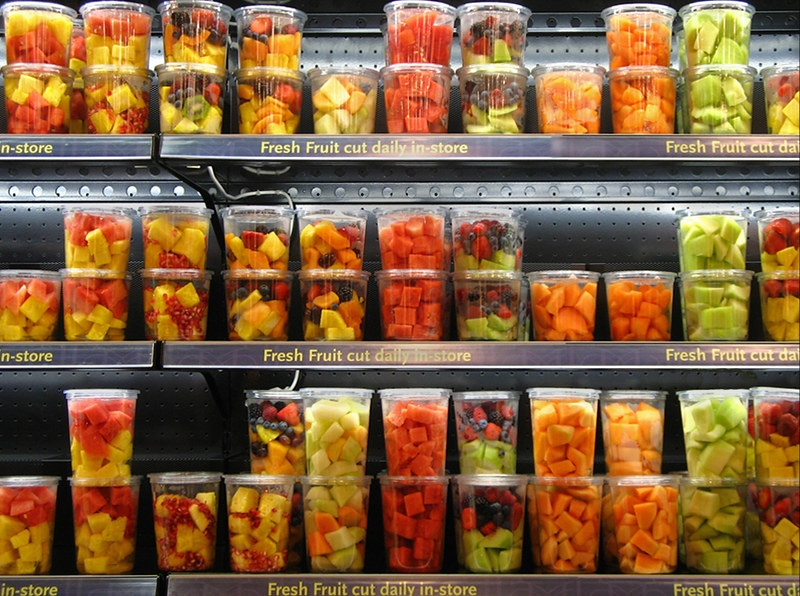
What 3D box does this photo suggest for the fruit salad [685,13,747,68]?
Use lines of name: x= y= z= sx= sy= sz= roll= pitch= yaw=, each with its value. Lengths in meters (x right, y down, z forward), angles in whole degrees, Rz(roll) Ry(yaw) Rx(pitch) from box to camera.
fruit salad: x=1.036 y=-0.815 z=2.592 sx=0.167 sy=0.171 sz=0.171 roll=3 pitch=-2 yaw=-12

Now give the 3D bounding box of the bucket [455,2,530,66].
bucket: x=0.300 y=-0.846 z=2.576 sx=0.217 sy=0.167 sz=0.205 roll=0 pitch=1 yaw=0

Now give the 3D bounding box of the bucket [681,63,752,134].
bucket: x=1.026 y=-0.640 z=2.613 sx=0.220 sy=0.240 sz=0.222 roll=0 pitch=2 yaw=0

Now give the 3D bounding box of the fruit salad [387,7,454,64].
fruit salad: x=0.068 y=-0.844 z=2.578 sx=0.182 sy=0.162 sz=0.210 roll=2 pitch=2 yaw=21

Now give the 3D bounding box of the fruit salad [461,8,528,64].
fruit salad: x=0.305 y=-0.849 z=2.575 sx=0.198 sy=0.154 sz=0.187 roll=0 pitch=1 yaw=-41

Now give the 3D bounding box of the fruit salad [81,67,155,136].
fruit salad: x=-0.902 y=-0.624 z=2.567 sx=0.203 sy=0.208 sz=0.211 roll=1 pitch=4 yaw=2

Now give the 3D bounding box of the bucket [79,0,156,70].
bucket: x=-0.919 y=-0.856 z=2.617 sx=0.206 sy=0.199 sz=0.225 roll=0 pitch=3 yaw=0

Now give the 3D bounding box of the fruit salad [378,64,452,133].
fruit salad: x=0.056 y=-0.639 z=2.611 sx=0.257 sy=0.226 sz=0.291 roll=2 pitch=2 yaw=20

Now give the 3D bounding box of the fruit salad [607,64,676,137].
fruit salad: x=0.813 y=-0.616 z=2.620 sx=0.227 sy=0.248 sz=0.237 roll=-1 pitch=-7 yaw=26

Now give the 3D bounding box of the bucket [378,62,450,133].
bucket: x=0.064 y=-0.648 z=2.607 sx=0.255 sy=0.218 sz=0.280 roll=-1 pitch=8 yaw=0

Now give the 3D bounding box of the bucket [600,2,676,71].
bucket: x=0.783 y=-0.821 z=2.558 sx=0.214 sy=0.180 sz=0.211 roll=-1 pitch=-3 yaw=0

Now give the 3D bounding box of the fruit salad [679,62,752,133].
fruit salad: x=1.025 y=-0.647 z=2.619 sx=0.217 sy=0.238 sz=0.221 roll=0 pitch=0 yaw=-8

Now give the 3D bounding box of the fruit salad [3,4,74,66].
fruit salad: x=-1.154 y=-0.844 z=2.565 sx=0.208 sy=0.169 sz=0.208 roll=-1 pitch=1 yaw=-4

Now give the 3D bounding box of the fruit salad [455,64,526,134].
fruit salad: x=0.311 y=-0.651 z=2.625 sx=0.253 sy=0.224 sz=0.293 roll=3 pitch=6 yaw=24

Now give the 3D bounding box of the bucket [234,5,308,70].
bucket: x=-0.418 y=-0.839 z=2.545 sx=0.226 sy=0.197 sz=0.126 roll=-3 pitch=11 yaw=-12

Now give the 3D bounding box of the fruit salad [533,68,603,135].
fruit salad: x=0.568 y=-0.641 z=2.642 sx=0.251 sy=0.240 sz=0.285 roll=3 pitch=3 yaw=19

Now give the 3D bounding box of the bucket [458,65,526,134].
bucket: x=0.317 y=-0.664 z=2.626 sx=0.252 sy=0.222 sz=0.290 roll=8 pitch=16 yaw=32

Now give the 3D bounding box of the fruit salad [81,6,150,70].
fruit salad: x=-0.905 y=-0.828 z=2.585 sx=0.195 sy=0.188 sz=0.213 roll=2 pitch=3 yaw=33

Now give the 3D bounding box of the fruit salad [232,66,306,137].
fruit salad: x=-0.436 y=-0.644 z=2.614 sx=0.237 sy=0.219 sz=0.226 roll=-1 pitch=7 yaw=-19

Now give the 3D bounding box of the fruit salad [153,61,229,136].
fruit salad: x=-0.687 y=-0.634 z=2.588 sx=0.248 sy=0.230 sz=0.276 roll=0 pitch=3 yaw=5

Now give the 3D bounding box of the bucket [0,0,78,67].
bucket: x=-1.166 y=-0.856 z=2.525 sx=0.211 sy=0.173 sz=0.210 roll=-1 pitch=1 yaw=0

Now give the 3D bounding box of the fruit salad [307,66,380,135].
fruit salad: x=-0.187 y=-0.635 z=2.635 sx=0.245 sy=0.223 sz=0.262 roll=2 pitch=-3 yaw=-26

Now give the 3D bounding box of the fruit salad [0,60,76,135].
fruit salad: x=-1.146 y=-0.630 z=2.559 sx=0.210 sy=0.241 sz=0.219 roll=1 pitch=0 yaw=5

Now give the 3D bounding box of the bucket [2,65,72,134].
bucket: x=-1.165 y=-0.644 z=2.626 sx=0.209 sy=0.239 sz=0.220 roll=0 pitch=1 yaw=0

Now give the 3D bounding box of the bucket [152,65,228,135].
bucket: x=-0.688 y=-0.637 z=2.594 sx=0.254 sy=0.234 sz=0.285 roll=-2 pitch=5 yaw=-22

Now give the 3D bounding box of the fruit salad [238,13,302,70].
fruit salad: x=-0.419 y=-0.827 z=2.522 sx=0.178 sy=0.176 sz=0.175 roll=1 pitch=-2 yaw=-8

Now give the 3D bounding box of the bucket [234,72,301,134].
bucket: x=-0.430 y=-0.651 z=2.621 sx=0.242 sy=0.235 sz=0.246 roll=3 pitch=15 yaw=-1

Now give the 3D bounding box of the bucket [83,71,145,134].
bucket: x=-0.911 y=-0.641 z=2.601 sx=0.187 sy=0.216 sz=0.194 roll=0 pitch=6 yaw=0

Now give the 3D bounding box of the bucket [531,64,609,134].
bucket: x=0.559 y=-0.647 z=2.611 sx=0.226 sy=0.188 sz=0.217 roll=1 pitch=2 yaw=0

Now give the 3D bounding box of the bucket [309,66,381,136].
bucket: x=-0.189 y=-0.632 z=2.645 sx=0.256 sy=0.238 sz=0.292 roll=0 pitch=-2 yaw=14

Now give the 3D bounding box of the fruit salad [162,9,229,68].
fruit salad: x=-0.642 y=-0.843 z=2.539 sx=0.196 sy=0.163 sz=0.190 roll=-1 pitch=0 yaw=4
